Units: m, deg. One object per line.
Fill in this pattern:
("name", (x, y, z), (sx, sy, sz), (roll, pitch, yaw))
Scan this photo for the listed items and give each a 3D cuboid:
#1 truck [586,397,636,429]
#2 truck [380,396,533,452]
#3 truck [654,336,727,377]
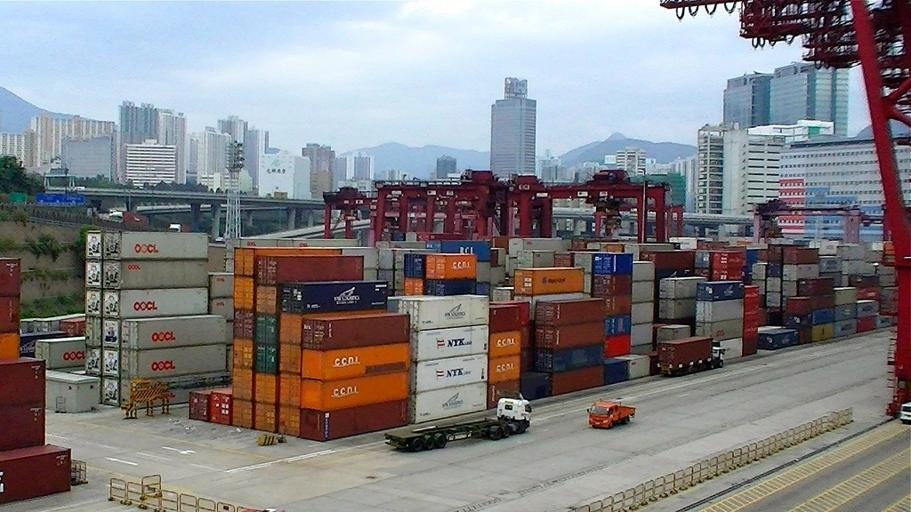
("truck", (12.633, 12.699, 78.732), (1.991, 1.478, 3.580), (-3, -2, 44))
("truck", (0.398, 12.793, 75.908), (12.197, 2.886, 2.656), (-4, 3, -35))
("truck", (22.517, 9.632, 94.344), (7.872, 2.794, 2.766), (-3, 3, -44))
